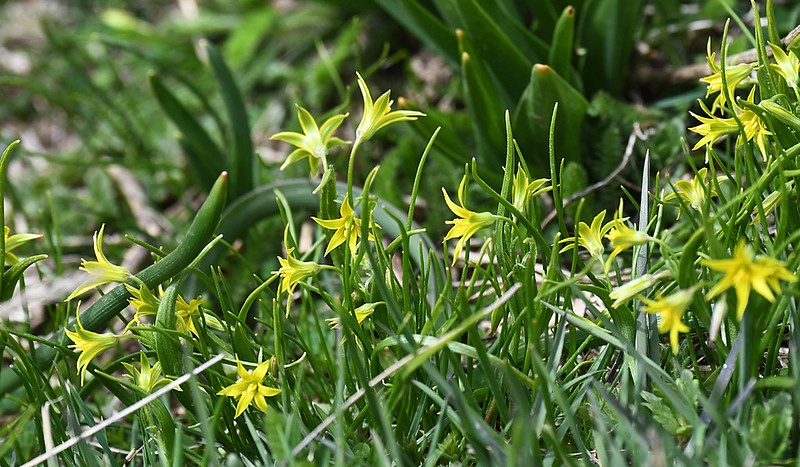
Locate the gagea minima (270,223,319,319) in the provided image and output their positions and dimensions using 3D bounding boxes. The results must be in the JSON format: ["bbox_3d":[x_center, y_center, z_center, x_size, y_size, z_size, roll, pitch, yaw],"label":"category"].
[{"bbox_3d":[-0.173,0.061,1.322,0.069,0.070,0.116,-12,79,32],"label":"gagea minima"}]

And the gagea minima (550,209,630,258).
[{"bbox_3d":[0.318,-0.024,1.337,0.096,0.051,0.097,-52,7,-19],"label":"gagea minima"}]

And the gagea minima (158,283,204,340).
[{"bbox_3d":[-0.376,0.136,1.353,0.036,0.086,0.079,-18,-5,-26],"label":"gagea minima"}]

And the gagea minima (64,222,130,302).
[{"bbox_3d":[-0.547,0.049,1.376,0.167,0.067,0.131,13,86,51],"label":"gagea minima"}]

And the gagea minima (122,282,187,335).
[{"bbox_3d":[-0.395,0.123,1.308,0.120,0.078,0.078,20,92,60],"label":"gagea minima"}]

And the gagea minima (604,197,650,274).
[{"bbox_3d":[0.367,0.000,1.275,0.054,0.104,0.098,6,15,18],"label":"gagea minima"}]

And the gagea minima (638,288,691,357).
[{"bbox_3d":[0.417,0.129,1.234,0.068,0.103,0.059,-40,43,-19],"label":"gagea minima"}]

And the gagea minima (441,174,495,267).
[{"bbox_3d":[0.103,-0.022,1.350,0.108,0.090,0.158,3,80,-4],"label":"gagea minima"}]

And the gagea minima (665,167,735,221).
[{"bbox_3d":[0.502,-0.075,1.327,0.075,0.053,0.081,-13,16,5],"label":"gagea minima"}]

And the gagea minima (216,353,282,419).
[{"bbox_3d":[-0.244,0.243,1.308,0.084,0.081,0.072,-11,42,16],"label":"gagea minima"}]

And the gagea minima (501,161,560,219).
[{"bbox_3d":[0.208,-0.085,1.354,0.068,0.079,0.052,2,46,23],"label":"gagea minima"}]

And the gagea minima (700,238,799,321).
[{"bbox_3d":[0.533,0.071,1.225,0.133,0.155,0.116,-4,44,22],"label":"gagea minima"}]

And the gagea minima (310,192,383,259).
[{"bbox_3d":[-0.081,-0.022,1.295,0.079,0.037,0.099,3,44,35],"label":"gagea minima"}]

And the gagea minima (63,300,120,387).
[{"bbox_3d":[-0.517,0.178,1.317,0.083,0.098,0.078,-4,13,14],"label":"gagea minima"}]

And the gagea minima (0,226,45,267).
[{"bbox_3d":[-0.756,0.028,1.604,0.065,0.089,0.031,-19,80,-1],"label":"gagea minima"}]

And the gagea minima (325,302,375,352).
[{"bbox_3d":[-0.085,0.138,1.353,0.034,0.067,0.111,-31,34,-28],"label":"gagea minima"}]

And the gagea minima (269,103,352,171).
[{"bbox_3d":[-0.135,-0.166,1.368,0.131,0.140,0.062,-9,57,44],"label":"gagea minima"}]
